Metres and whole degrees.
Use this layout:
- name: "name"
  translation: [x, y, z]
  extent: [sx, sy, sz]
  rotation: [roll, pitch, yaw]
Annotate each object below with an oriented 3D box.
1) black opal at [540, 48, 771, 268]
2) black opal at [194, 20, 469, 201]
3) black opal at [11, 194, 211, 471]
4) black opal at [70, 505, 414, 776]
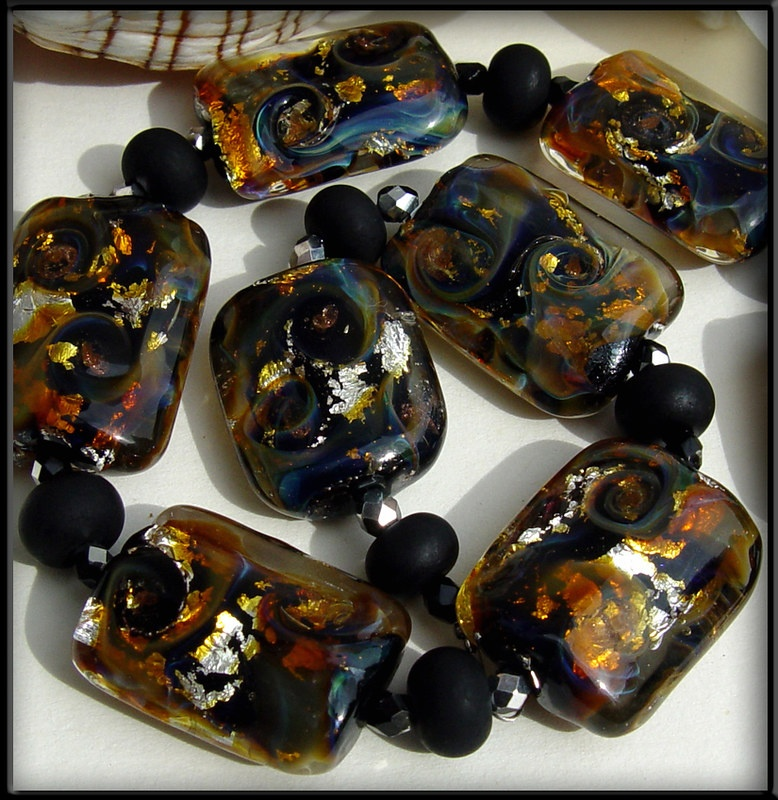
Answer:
- name: "black opal"
  translation: [0.315, -0.292, 0.912]
  extent: [0.304, 0.073, 0.170]
  rotation: [32, 87, 15]
- name: "black opal"
  translation: [-0.072, -0.331, 0.909]
  extent: [0.307, 0.093, 0.166]
  rotation: [-13, 71, -3]
- name: "black opal"
  translation: [-0.305, -0.060, 0.823]
  extent: [0.230, 0.089, 0.271]
  rotation: [7, 82, -8]
- name: "black opal"
  translation: [-0.137, 0.215, 0.693]
  extent: [0.278, 0.074, 0.167]
  rotation: [23, 51, 8]
